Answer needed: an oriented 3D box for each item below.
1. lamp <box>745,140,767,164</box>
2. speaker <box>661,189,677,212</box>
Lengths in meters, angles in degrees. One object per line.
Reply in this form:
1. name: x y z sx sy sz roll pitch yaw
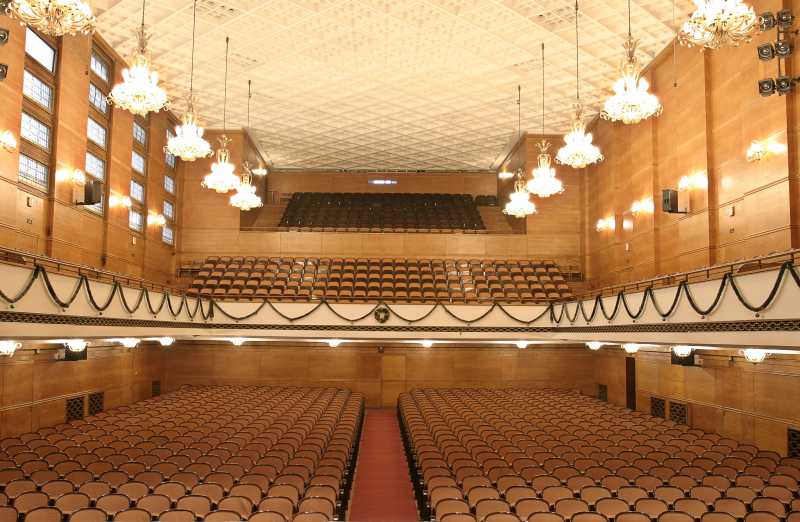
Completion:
1. lamp: 9.477 -2.945 14.509 0.356 0.517 0.461 -1 -8 -4
2. speaker: 8.452 -1.912 17.010 0.423 0.790 0.416 -5 -9 27
